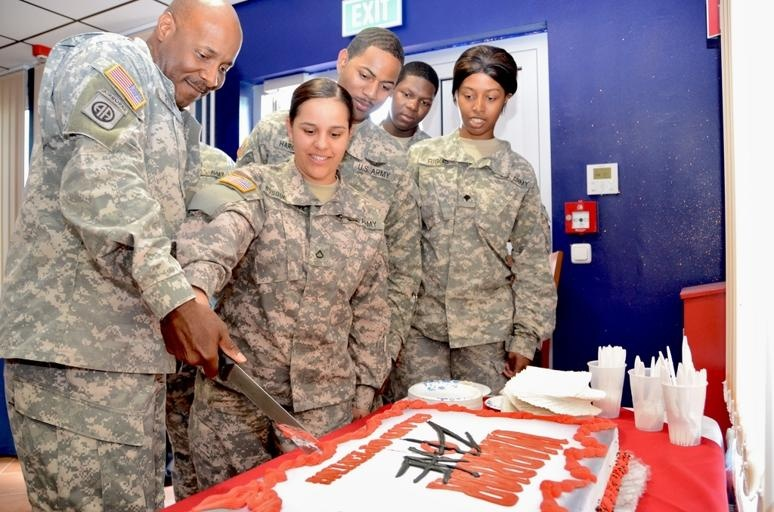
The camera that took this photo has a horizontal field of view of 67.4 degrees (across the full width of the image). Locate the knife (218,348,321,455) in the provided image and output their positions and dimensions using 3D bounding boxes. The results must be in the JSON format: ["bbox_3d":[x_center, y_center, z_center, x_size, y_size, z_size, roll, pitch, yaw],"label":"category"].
[{"bbox_3d":[-0.405,0.479,1.942,0.084,0.578,0.048,-46,23,-6],"label":"knife"}]
